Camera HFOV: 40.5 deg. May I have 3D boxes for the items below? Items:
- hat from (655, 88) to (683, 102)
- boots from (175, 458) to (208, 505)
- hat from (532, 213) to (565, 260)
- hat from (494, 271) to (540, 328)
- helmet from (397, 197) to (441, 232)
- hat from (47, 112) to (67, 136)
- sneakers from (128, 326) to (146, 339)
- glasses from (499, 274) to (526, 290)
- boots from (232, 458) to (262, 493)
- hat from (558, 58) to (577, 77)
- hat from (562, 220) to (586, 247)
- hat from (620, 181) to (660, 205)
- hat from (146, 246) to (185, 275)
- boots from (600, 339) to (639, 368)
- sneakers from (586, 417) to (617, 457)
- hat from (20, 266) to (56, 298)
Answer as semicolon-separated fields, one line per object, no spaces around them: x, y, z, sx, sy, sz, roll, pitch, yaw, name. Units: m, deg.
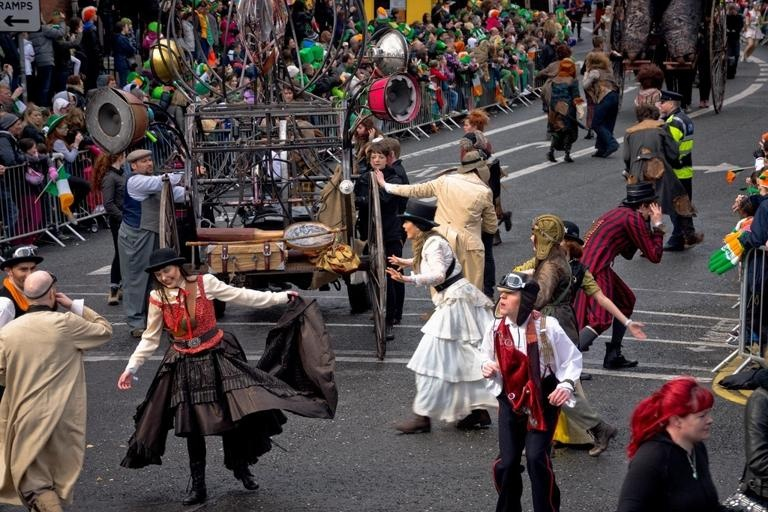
4.326;-2.525;15.759;0.354;0.136;0.299;0;11;5;hat
-1.686;2.075;9.240;0.240;0.384;0.167;-9;14;-25;boots
1.539;-0.204;9.820;0.322;0.418;0.321;10;10;6;hat
1.122;0.349;8.762;0.361;0.433;0.321;5;8;-36;hat
0.340;-0.458;10.541;0.310;0.184;0.356;3;14;-24;helmet
-5.500;-2.256;17.268;0.133;0.377;0.352;39;14;-6;hat
-3.060;0.969;12.863;0.225;0.151;0.348;0;8;-7;sneakers
1.099;0.216;8.657;0.136;0.075;0.179;-6;-10;42;glasses
-1.263;2.016;9.455;0.242;0.349;0.234;-5;13;-9;boots
3.649;-3.923;20.825;0.316;0.348;0.417;1;8;3;hat
1.901;-0.238;10.419;0.296;0.112;0.212;20;5;2;hat
2.751;-0.714;11.256;0.337;0.263;0.236;0;13;12;hat
-1.916;0.024;9.218;0.245;0.098;0.268;-15;5;6;hat
2.597;1.134;11.671;0.475;0.322;0.201;-6;8;-23;boots
2.053;1.755;9.824;0.254;0.349;0.173;-1;13;6;sneakers
-2.990;0.238;9.019;0.263;0.228;0.297;-7;14;-19;hat
